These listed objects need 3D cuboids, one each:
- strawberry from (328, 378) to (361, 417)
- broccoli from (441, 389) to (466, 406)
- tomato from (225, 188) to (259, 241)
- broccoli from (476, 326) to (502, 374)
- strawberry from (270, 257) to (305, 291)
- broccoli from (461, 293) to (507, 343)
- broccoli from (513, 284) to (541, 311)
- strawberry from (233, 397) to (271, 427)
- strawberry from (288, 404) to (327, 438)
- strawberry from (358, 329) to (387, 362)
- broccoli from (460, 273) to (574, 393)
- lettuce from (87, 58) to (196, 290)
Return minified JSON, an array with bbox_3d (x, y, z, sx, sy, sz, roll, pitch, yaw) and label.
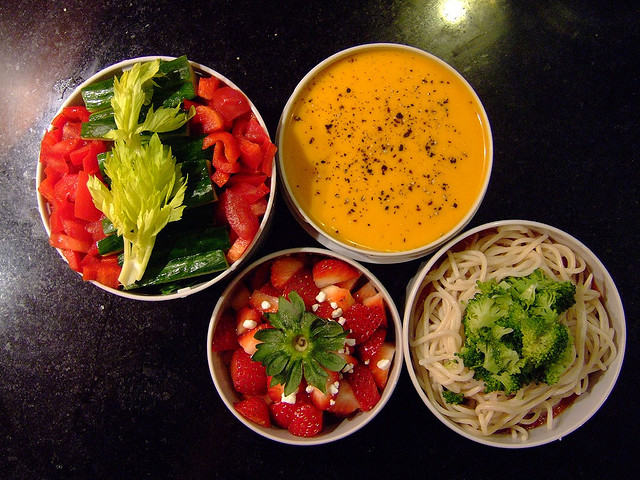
[{"bbox_3d":[0.137,0.839,3.072,0.182,0.170,0.119,-35,33,17],"label":"strawberry"},{"bbox_3d":[0.696,0.819,3.060,0.079,0.034,0.084,15,43,21],"label":"broccoli"},{"bbox_3d":[-0.373,-0.129,2.933,0.132,0.203,0.230,5,25,14],"label":"tomato"},{"bbox_3d":[0.821,0.533,2.876,0.129,0.055,0.196,19,98,25],"label":"broccoli"},{"bbox_3d":[-0.174,0.166,3.124,0.163,0.057,0.164,-4,107,-11],"label":"strawberry"},{"bbox_3d":[0.809,0.378,2.899,0.228,0.061,0.228,24,44,22],"label":"broccoli"},{"bbox_3d":[1.017,0.286,2.885,0.089,0.043,0.114,7,64,23],"label":"broccoli"},{"bbox_3d":[-0.349,0.896,3.034,0.151,0.122,0.163,-14,81,2],"label":"strawberry"},{"bbox_3d":[-0.069,0.925,3.020,0.156,0.094,0.175,13,88,-10],"label":"strawberry"},{"bbox_3d":[0.275,0.548,3.122,0.046,0.120,0.159,37,78,-20],"label":"strawberry"},{"bbox_3d":[0.957,0.411,2.865,0.473,0.195,0.561,31,94,12],"label":"broccoli"},{"bbox_3d":[-0.835,-0.312,2.728,0.431,0.397,1.087,3,89,-20],"label":"lettuce"}]
